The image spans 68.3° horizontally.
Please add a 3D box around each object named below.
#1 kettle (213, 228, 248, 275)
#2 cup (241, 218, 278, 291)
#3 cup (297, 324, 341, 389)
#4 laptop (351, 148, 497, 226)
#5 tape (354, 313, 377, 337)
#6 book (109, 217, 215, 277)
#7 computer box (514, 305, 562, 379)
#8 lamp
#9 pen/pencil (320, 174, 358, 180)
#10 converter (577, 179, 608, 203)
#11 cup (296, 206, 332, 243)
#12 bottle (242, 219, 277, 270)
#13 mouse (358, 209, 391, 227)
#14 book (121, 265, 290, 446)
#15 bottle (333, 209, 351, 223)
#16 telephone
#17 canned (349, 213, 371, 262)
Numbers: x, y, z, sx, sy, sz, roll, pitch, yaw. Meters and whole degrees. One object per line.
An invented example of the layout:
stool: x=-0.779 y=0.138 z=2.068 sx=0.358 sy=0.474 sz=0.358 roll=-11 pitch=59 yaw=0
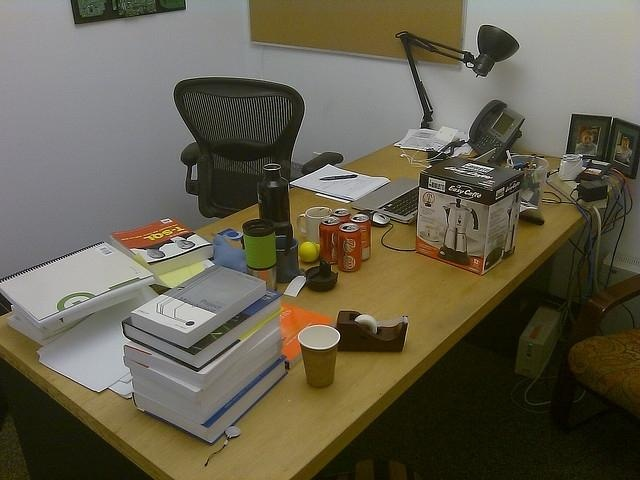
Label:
kettle: x=-0.261 y=0.036 z=1.479 sx=0.113 sy=0.098 sz=0.130 roll=-13 pitch=32 yaw=-25
cup: x=-0.166 y=0.064 z=1.419 sx=0.123 sy=0.240 sz=0.087 roll=0 pitch=29 yaw=0
cup: x=0.003 y=0.297 z=1.144 sx=0.089 sy=0.088 sz=0.089 roll=-4 pitch=0 yaw=0
laptop: x=0.322 y=-0.222 z=1.923 sx=0.210 sy=0.176 sz=0.288 roll=22 pitch=38 yaw=21
tape: x=0.119 y=0.225 z=1.234 sx=0.044 sy=0.042 sz=0.020 roll=22 pitch=51 yaw=20
book: x=-0.508 y=0.019 z=1.529 sx=0.222 sy=0.052 sz=0.223 roll=-19 pitch=37 yaw=-40
computer box: x=1.066 y=0.508 z=2.284 sx=0.102 sy=0.140 sz=0.289 roll=19 pitch=39 yaw=32
lamp: x=0.734 y=-0.894 z=2.597 sx=0.254 sy=0.563 sz=0.746 roll=-19 pitch=34 yaw=-27
pen/pencil: x=0.095 y=-0.292 z=2.188 sx=0.122 sy=0.013 sz=0.020 roll=-8 pitch=15 yaw=-11
converter: x=1.126 y=-0.199 z=1.930 sx=0.159 sy=0.077 sz=0.103 roll=-6 pitch=11 yaw=-33
cup: x=-0.026 y=-0.048 z=1.683 sx=0.128 sy=0.112 sz=0.079 roll=12 pitch=31 yaw=29
bottle: x=-0.148 y=0.016 z=1.392 sx=0.136 sy=0.136 sz=0.088 roll=-1 pitch=29 yaw=1
mouse: x=0.221 y=-0.087 z=1.835 sx=0.104 sy=0.030 sz=0.062 roll=25 pitch=43 yaw=28
book: x=-0.261 y=0.289 z=1.207 sx=0.373 sy=0.246 sz=0.362 roll=13 pitch=31 yaw=27
bottle: x=0.084 y=-0.092 z=1.686 sx=0.055 sy=0.051 sz=0.052 roll=-26 pitch=41 yaw=-30
telephone: x=0.884 y=-0.553 z=2.353 sx=0.188 sy=0.238 sz=0.233 roll=-19 pitch=41 yaw=-6
canned: x=0.127 y=-0.004 z=1.609 sx=0.090 sy=0.138 sz=0.088 roll=6 pitch=13 yaw=27
